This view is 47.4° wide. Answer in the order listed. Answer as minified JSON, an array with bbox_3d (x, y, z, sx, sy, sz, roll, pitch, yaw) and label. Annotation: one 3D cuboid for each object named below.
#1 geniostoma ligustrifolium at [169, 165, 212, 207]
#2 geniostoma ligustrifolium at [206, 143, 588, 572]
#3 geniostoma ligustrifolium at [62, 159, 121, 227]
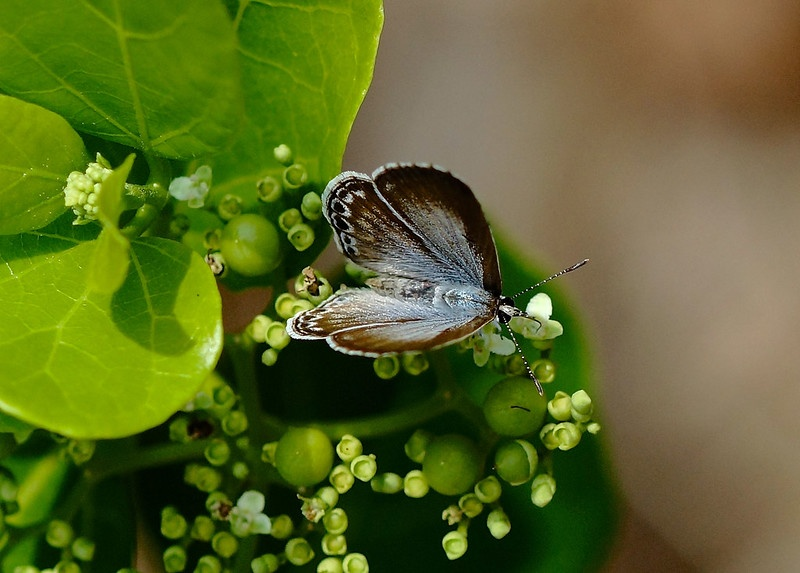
[{"bbox_3d":[-0.452,-0.214,1.969,0.089,0.108,0.070,4,27,-14],"label":"geniostoma ligustrifolium"},{"bbox_3d":[0.036,0.157,1.973,0.730,0.790,0.470,5,27,-14],"label":"geniostoma ligustrifolium"},{"bbox_3d":[-0.619,-0.185,1.850,0.127,0.142,0.076,2,1,6],"label":"geniostoma ligustrifolium"}]
